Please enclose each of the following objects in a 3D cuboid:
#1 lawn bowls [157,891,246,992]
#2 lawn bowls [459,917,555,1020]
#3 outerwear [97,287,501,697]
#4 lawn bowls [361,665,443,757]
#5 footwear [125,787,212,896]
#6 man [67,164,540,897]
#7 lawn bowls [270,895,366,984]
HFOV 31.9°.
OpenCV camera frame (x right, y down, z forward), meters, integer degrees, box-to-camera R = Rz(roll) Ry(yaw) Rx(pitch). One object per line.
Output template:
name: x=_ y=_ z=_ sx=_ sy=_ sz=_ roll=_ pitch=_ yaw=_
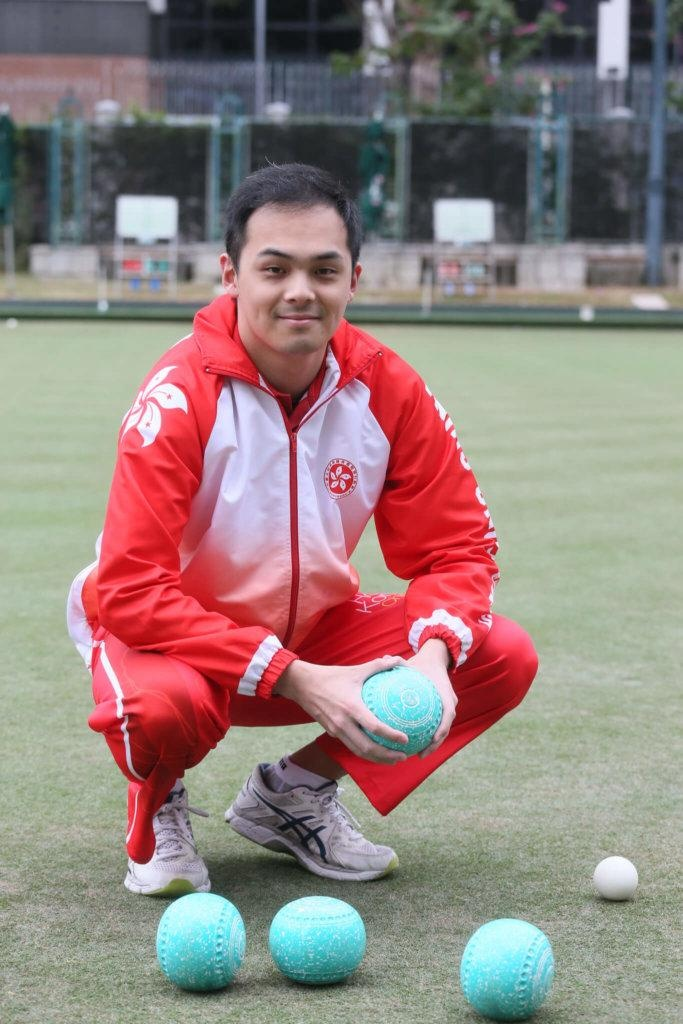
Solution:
lawn bowls: x=-0.165 y=0.508 z=1.422 sx=0.116 sy=0.102 sz=0.105 roll=-1 pitch=-17 yaw=8
lawn bowls: x=0.186 y=0.515 z=1.353 sx=0.109 sy=0.096 sz=0.100 roll=1 pitch=-6 yaw=0
outerwear: x=-0.083 y=-0.018 z=1.932 sx=0.726 sy=0.607 sz=0.522 roll=0 pitch=8 yaw=-33
lawn bowls: x=0.083 y=0.286 z=1.673 sx=0.080 sy=0.126 sz=0.121 roll=8 pitch=10 yaw=41
footwear: x=-0.265 y=0.503 z=1.818 sx=0.127 sy=0.118 sz=0.172 roll=-1 pitch=7 yaw=-14
man: x=-0.028 y=0.034 z=1.818 sx=0.706 sy=1.118 sz=0.503 roll=0 pitch=8 yaw=-11
lawn bowls: x=-0.023 y=0.510 z=1.467 sx=0.110 sy=0.073 sz=0.103 roll=0 pitch=4 yaw=0
